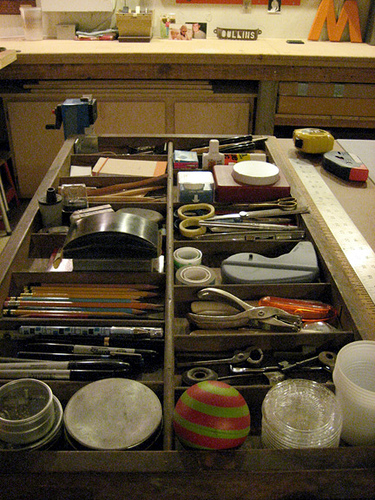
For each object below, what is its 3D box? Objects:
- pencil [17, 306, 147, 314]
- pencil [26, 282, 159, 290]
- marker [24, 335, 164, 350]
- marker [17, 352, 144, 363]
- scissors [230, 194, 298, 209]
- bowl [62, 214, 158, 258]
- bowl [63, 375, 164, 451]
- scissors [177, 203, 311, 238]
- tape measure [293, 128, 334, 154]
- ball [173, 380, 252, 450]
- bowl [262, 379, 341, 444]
[{"bbox_3d":[-0.235,0.134,0.883,0.155,0.010,0.011,2,-7,-4],"label":"pencil"},{"bbox_3d":[-0.229,0.087,0.959,0.138,0.008,0.012,3,8,-2],"label":"pencil"},{"bbox_3d":[-0.173,0.183,0.785,0.345,0.023,0.025,1,-2,4],"label":"marker"},{"bbox_3d":[-0.195,0.201,0.746,0.121,0.008,0.012,3,44,8],"label":"marker"},{"bbox_3d":[0.252,-0.148,1.292,0.199,0.026,0.076,1,22,9],"label":"scissors"},{"bbox_3d":[-0.186,-0.039,0.989,0.226,0.079,0.114,0,27,-4],"label":"bowl"},{"bbox_3d":[-0.109,0.243,0.587,0.142,0.036,0.141,1,27,-1],"label":"bowl"},{"bbox_3d":[0.161,-0.101,1.230,0.381,0.038,0.154,-4,38,7],"label":"scissors"},{"bbox_3d":[0.540,-0.471,1.732,0.146,0.088,0.227,-10,29,-21],"label":"tape measure"},{"bbox_3d":[0.039,0.240,0.564,0.098,0.105,0.095,8,-5,1],"label":"ball"},{"bbox_3d":[0.155,0.215,0.542,0.102,0.017,0.107,1,27,-1],"label":"bowl"}]
